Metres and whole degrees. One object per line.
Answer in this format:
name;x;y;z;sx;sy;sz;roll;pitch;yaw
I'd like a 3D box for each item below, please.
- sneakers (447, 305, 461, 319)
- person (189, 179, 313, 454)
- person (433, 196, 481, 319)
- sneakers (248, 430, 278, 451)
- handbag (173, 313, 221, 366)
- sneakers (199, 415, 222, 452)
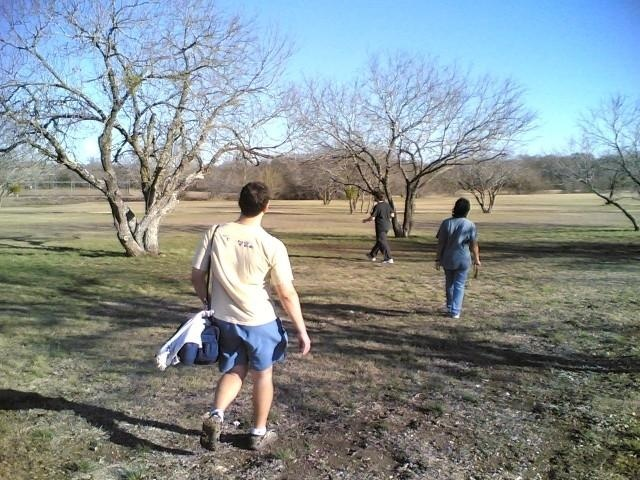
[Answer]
sneakers;2.388;1.303;7.345;0.173;0.186;0.284;-5;-25;10
person;-0.591;0.638;3.356;0.834;2.201;0.538;-2;7;-21
person;2.560;0.278;7.637;0.783;2.126;1.561;3;7;19
sneakers;-0.479;1.675;3.526;0.114;0.124;0.304;4;5;39
handbag;-0.933;0.824;3.357;0.425;0.363;0.293;3;-4;-38
sneakers;-0.835;1.488;3.178;0.169;0.274;0.144;4;18;8
